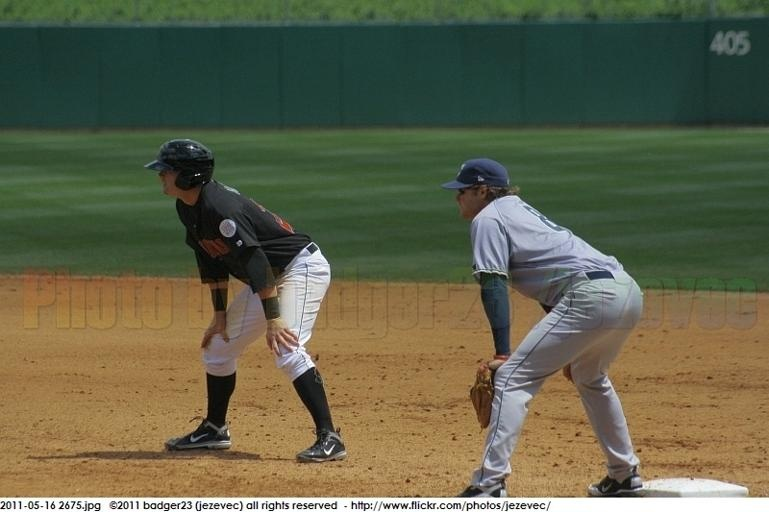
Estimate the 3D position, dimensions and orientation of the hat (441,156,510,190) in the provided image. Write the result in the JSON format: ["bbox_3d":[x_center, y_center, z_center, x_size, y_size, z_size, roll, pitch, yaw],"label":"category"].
[{"bbox_3d":[1.199,-1.026,20.717,0.714,0.286,0.444,1,2,3],"label":"hat"}]

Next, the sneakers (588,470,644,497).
[{"bbox_3d":[2.948,2.889,20.803,0.732,0.256,0.266,1,1,8],"label":"sneakers"}]

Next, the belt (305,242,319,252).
[{"bbox_3d":[-0.966,-0.081,21.266,0.139,0.139,0.037,35,-24,-10],"label":"belt"}]
